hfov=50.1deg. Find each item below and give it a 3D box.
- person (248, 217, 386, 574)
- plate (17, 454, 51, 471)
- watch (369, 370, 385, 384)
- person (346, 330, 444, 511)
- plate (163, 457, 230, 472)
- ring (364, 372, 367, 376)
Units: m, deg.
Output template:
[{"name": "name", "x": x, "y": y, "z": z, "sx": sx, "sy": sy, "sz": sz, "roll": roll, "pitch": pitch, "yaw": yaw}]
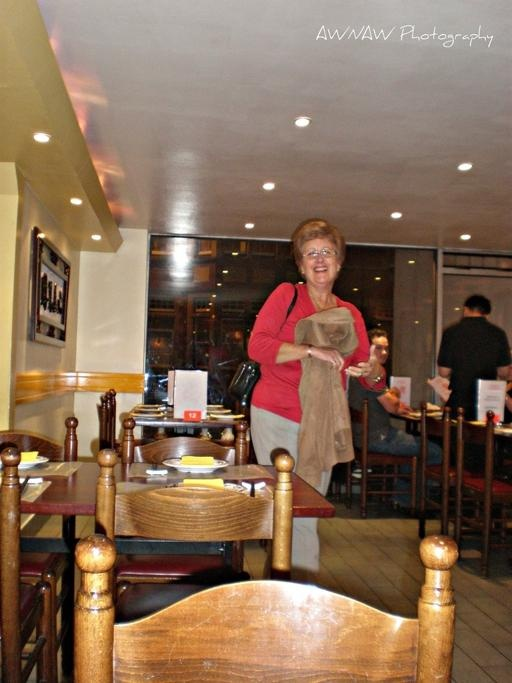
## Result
[{"name": "person", "x": 0.228, "y": 0.193, "z": 1.998, "sx": 0.472, "sy": 1.212, "sz": 0.437, "roll": 2, "pitch": 7, "yaw": -39}, {"name": "plate", "x": -0.730, "y": 0.395, "z": 1.806, "sx": 0.065, "sy": 0.035, "sz": 0.210, "roll": 4, "pitch": -7, "yaw": -10}, {"name": "watch", "x": 0.455, "y": 0.135, "z": 2.044, "sx": 0.061, "sy": 0.046, "sz": 0.071, "roll": -1, "pitch": -9, "yaw": 4}, {"name": "person", "x": 1.120, "y": 0.848, "z": 4.492, "sx": 0.642, "sy": 0.878, "sz": 0.957, "roll": -10, "pitch": 24, "yaw": 5}, {"name": "plate", "x": -0.199, "y": 0.401, "z": 1.790, "sx": 0.208, "sy": 0.040, "sz": 0.173, "roll": 3, "pitch": -7, "yaw": -6}, {"name": "ring", "x": 0.395, "y": 0.113, "z": 1.970, "sx": 0.014, "sy": 0.012, "sz": 0.007, "roll": 0, "pitch": -38, "yaw": 0}]
